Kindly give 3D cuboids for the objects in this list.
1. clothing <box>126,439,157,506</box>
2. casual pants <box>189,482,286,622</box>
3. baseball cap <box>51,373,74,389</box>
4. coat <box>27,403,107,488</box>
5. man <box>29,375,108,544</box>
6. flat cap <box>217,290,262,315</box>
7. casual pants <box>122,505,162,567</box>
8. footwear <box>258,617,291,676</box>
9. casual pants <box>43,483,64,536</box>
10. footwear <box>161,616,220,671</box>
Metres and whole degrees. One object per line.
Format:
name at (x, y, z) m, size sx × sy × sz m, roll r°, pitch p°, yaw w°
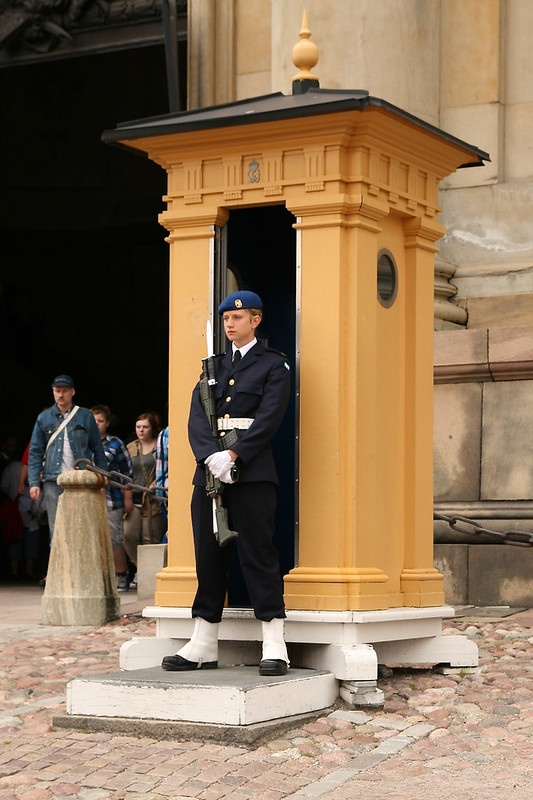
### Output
clothing at (-0.970, 0.566, 11.312) m, size 0.339 × 0.492 × 0.180 m, roll 2°, pitch 8°, yaw 1°
casual pants at (-0.141, 0.571, 5.824) m, size 0.353 × 0.667 × 0.196 m, roll -3°, pitch -5°, yaw 12°
baseball cap at (-1.469, -0.129, 10.324) m, size 0.131 × 0.103 × 0.198 m, roll 0°, pitch -18°, yaw 3°
coat at (-1.398, 0.337, 10.170) m, size 0.561 × 0.715 × 0.272 m, roll -4°, pitch -27°, yaw -1°
man at (-1.426, 0.532, 10.286) m, size 0.549 × 1.418 × 0.359 m, roll -2°, pitch -1°, yaw -1°
flat cap at (-0.098, -0.401, 5.940) m, size 0.131 × 0.061 × 0.097 m, roll -4°, pitch 4°, yaw -32°
casual pants at (-0.965, 1.054, 11.056) m, size 0.240 × 0.549 × 0.172 m, roll 5°, pitch 19°, yaw 2°
footwear at (0.028, 0.970, 5.664) m, size 0.091 × 0.218 × 0.227 m, roll -2°, pitch 1°, yaw 14°
casual pants at (-1.540, 0.843, 10.213) m, size 0.121 × 0.488 × 0.156 m, roll 1°, pitch 7°, yaw -13°
footwear at (-0.277, 1.010, 5.827) m, size 0.293 × 0.270 × 0.122 m, roll 10°, pitch -12°, yaw -37°
